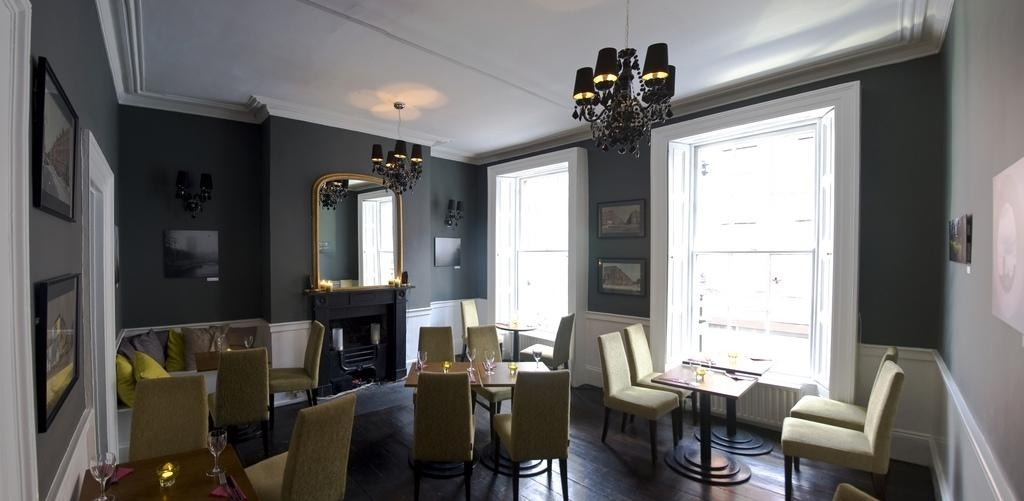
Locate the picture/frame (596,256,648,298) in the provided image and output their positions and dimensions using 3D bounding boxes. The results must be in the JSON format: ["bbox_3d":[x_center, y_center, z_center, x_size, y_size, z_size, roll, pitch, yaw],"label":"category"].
[{"bbox_3d":[1.833,0.438,9.667,1.041,0.657,0.024,2,-4,-26],"label":"picture/frame"}]

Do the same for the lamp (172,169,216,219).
[{"bbox_3d":[-4.978,-0.913,8.960,0.547,0.741,0.301,-2,-1,-27],"label":"lamp"}]

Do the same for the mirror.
[{"bbox_3d":[-2.659,-0.343,9.737,1.919,1.975,0.084,2,5,25],"label":"mirror"}]

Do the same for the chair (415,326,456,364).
[{"bbox_3d":[-1.165,1.464,8.930,0.567,0.829,0.552,0,-5,-5],"label":"chair"}]

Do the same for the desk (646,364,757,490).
[{"bbox_3d":[2.722,2.390,8.275,1.589,1.290,1.492,2,3,17],"label":"desk"}]

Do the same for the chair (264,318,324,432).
[{"bbox_3d":[-3.396,1.852,8.865,0.938,1.270,0.885,-4,6,-36],"label":"chair"}]

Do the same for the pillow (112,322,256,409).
[{"bbox_3d":[-4.866,1.905,8.697,2.329,0.854,0.997,0,3,-35],"label":"pillow"}]

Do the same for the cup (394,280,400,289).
[{"bbox_3d":[-2.033,0.576,10.143,0.125,0.119,0.115,0,-4,0],"label":"cup"}]

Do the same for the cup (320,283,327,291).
[{"bbox_3d":[-3.104,0.591,9.432,0.119,0.097,0.113,1,-9,0],"label":"cup"}]

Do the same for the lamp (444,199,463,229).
[{"bbox_3d":[-1.156,-0.749,11.288,0.345,0.362,0.190,-1,-2,-40],"label":"lamp"}]

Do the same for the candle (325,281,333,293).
[{"bbox_3d":[-3.031,0.592,9.464,0.159,0.160,0.155,4,-5,-42],"label":"candle"}]

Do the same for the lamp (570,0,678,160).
[{"bbox_3d":[1.280,-1.726,6.592,1.115,1.327,0.441,-3,-1,13],"label":"lamp"}]

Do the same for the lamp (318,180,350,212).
[{"bbox_3d":[-2.965,-0.947,9.599,0.527,0.338,0.510,3,3,26],"label":"lamp"}]

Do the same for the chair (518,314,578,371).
[{"bbox_3d":[0.655,1.650,9.770,0.849,1.078,0.694,1,4,31],"label":"chair"}]

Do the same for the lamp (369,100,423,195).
[{"bbox_3d":[-1.797,-1.660,9.007,0.843,1.309,0.643,-1,1,8],"label":"lamp"}]

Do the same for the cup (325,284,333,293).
[{"bbox_3d":[-3.049,0.598,9.455,0.153,0.123,0.142,1,-4,0],"label":"cup"}]

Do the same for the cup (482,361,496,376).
[{"bbox_3d":[-0.330,1.676,8.134,0.182,0.174,0.167,0,-3,0],"label":"cup"}]

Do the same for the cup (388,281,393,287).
[{"bbox_3d":[-2.137,0.576,10.139,0.094,0.108,0.098,0,-4,0],"label":"cup"}]

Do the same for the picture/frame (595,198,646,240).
[{"bbox_3d":[1.836,-0.524,9.675,0.983,0.635,0.024,-3,6,-23],"label":"picture/frame"}]

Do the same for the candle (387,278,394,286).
[{"bbox_3d":[-2.134,0.547,10.145,0.111,0.133,0.120,1,-6,-6],"label":"candle"}]
